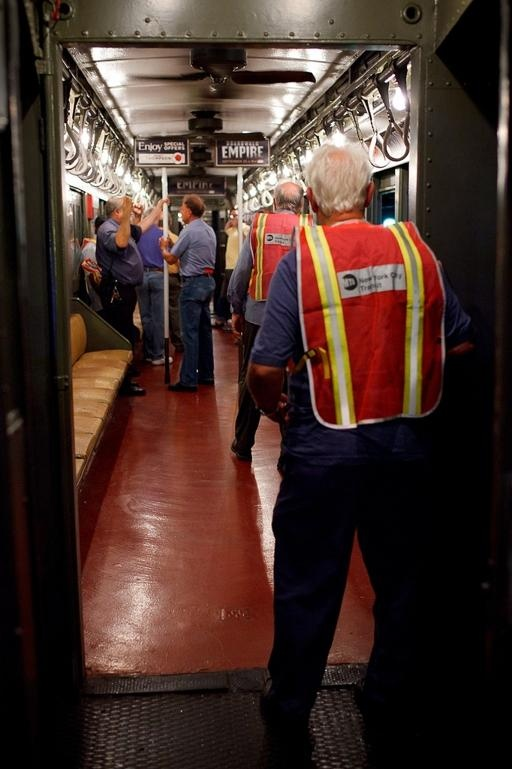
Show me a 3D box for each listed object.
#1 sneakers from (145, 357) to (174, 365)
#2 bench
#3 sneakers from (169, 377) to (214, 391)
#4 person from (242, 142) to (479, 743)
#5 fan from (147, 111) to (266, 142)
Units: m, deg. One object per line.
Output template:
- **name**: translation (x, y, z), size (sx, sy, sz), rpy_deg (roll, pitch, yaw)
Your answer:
- **sneakers**: translation (-1.470, -0.341, 8.990), size (0.390, 0.168, 0.135), rpy_deg (-5, 4, -2)
- **bench**: translation (-1.086, 0.383, 4.183), size (0.254, 0.492, 1.577), rpy_deg (-1, 21, -6)
- **sneakers**: translation (-0.794, 0.029, 7.458), size (0.546, 0.244, 0.190), rpy_deg (1, 0, -15)
- **person**: translation (0.283, 0.197, 1.715), size (0.607, 1.701, 0.269), rpy_deg (-3, 7, -14)
- **fan**: translation (-0.525, -3.725, 8.588), size (0.928, 0.241, 0.966), rpy_deg (2, 15, 10)
